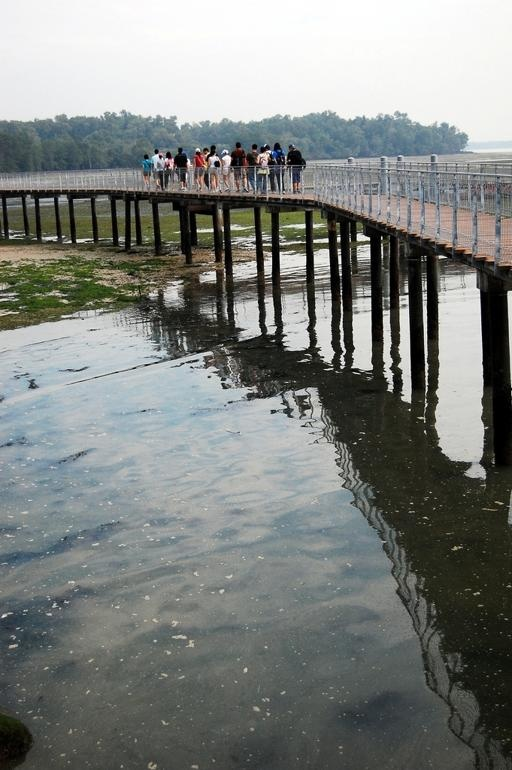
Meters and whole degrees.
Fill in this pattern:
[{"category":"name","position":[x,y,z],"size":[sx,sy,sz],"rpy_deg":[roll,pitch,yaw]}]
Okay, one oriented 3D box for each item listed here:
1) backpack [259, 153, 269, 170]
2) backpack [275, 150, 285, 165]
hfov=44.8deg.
[{"category":"backpack","position":[0.265,-8.367,23.225],"size":[0.415,0.623,0.972],"rpy_deg":[-3,14,1]},{"category":"backpack","position":[0.865,-8.647,23.437],"size":[0.465,0.234,0.821],"rpy_deg":[1,52,-4]}]
